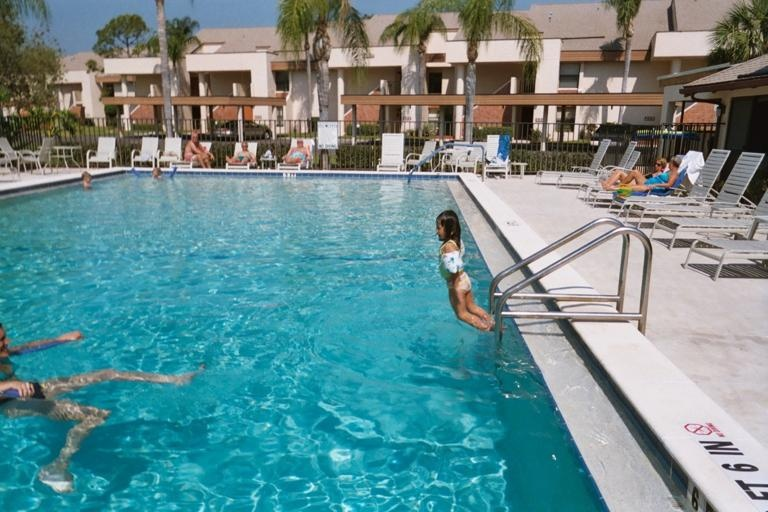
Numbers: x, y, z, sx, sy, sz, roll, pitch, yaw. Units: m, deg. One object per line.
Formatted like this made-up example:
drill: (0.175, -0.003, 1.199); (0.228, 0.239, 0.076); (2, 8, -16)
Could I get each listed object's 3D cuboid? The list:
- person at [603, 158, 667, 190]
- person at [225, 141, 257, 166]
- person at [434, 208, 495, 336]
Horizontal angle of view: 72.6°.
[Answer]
person: (5.497, -1.741, 11.411); (1.353, 0.602, 0.807); (-2, 16, 4)
person: (-4.977, -3.638, 18.448); (0.718, 0.754, 1.301); (0, 18, -1)
person: (0.849, 0.149, 5.574); (0.632, 1.338, 0.646); (2, 16, 6)
